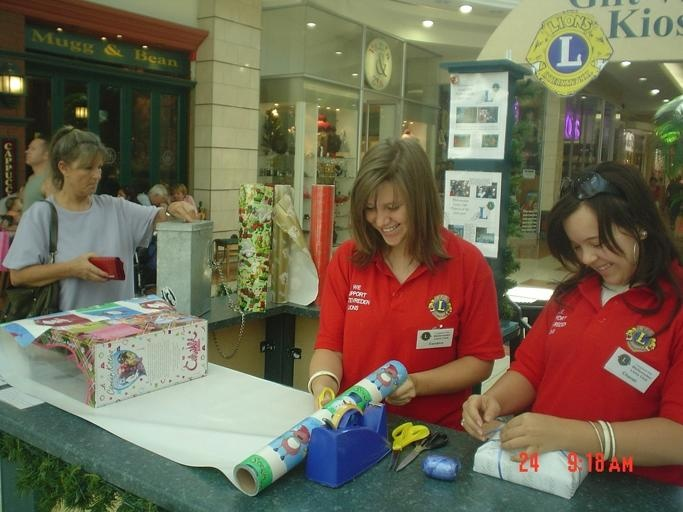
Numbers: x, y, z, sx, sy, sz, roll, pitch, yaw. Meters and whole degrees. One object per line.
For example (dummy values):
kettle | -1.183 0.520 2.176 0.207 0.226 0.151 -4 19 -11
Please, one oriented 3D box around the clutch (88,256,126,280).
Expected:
clutch | -1.124 0.059 2.830 0.145 0.125 0.102 -6 16 -25

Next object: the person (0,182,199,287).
person | -1.238 -0.102 3.016 0.576 0.627 0.717 4 10 20

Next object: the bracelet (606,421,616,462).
bracelet | 0.792 0.537 1.727 0.016 0.076 0.068 -5 11 9

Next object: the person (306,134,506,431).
person | 0.239 0.190 2.294 0.752 1.310 0.681 0 23 10

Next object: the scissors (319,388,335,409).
scissors | -0.051 0.456 1.921 0.036 0.064 0.060 -7 -12 26

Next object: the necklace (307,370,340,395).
necklace | -0.079 0.458 2.187 0.093 0.085 0.037 -37 14 4
